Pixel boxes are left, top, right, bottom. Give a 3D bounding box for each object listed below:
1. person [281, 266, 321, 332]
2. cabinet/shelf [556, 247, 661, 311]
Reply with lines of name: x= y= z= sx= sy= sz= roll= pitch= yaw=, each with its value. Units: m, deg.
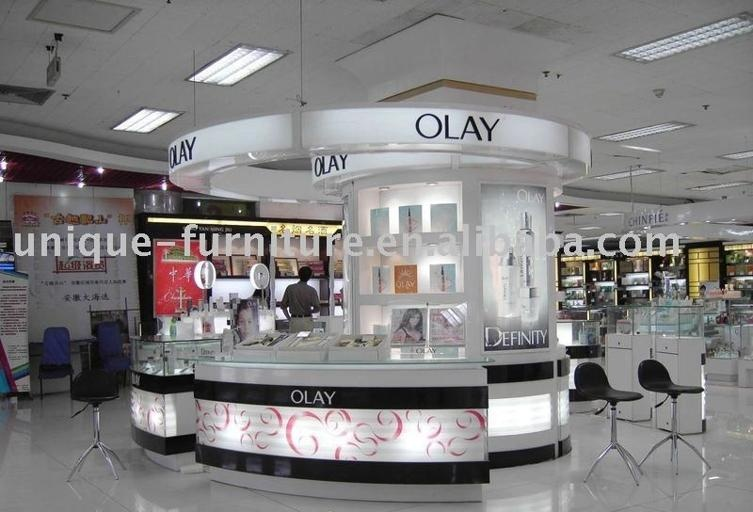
person: x=-1.249 y=0.722 z=10.363 sx=0.607 sy=1.080 sz=0.829 roll=-1 pitch=1 yaw=-26
cabinet/shelf: x=8.705 y=0.907 z=23.691 sx=0.721 sy=1.998 sz=4.009 roll=-1 pitch=1 yaw=-41
